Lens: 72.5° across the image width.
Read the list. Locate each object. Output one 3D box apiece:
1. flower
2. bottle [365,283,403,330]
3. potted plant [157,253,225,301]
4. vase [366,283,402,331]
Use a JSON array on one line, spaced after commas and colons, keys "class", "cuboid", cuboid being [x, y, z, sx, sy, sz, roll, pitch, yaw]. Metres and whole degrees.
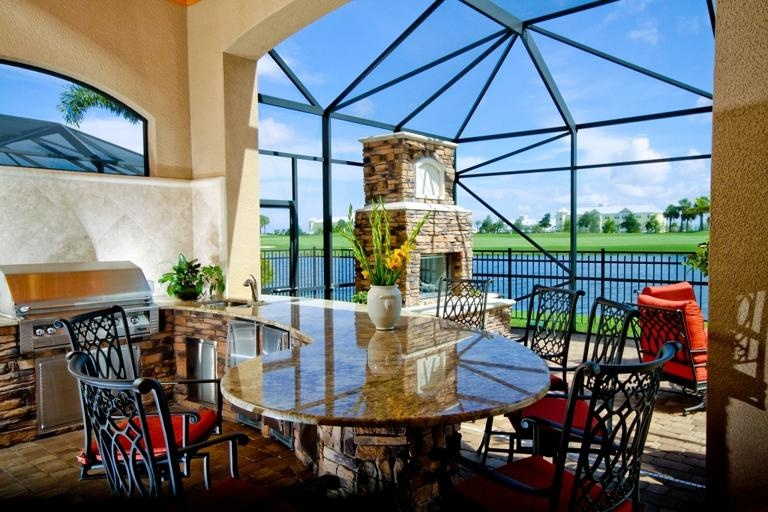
[{"class": "flower", "cuboid": [-0.053, -0.054, 4.174, 0.638, 0.630, 0.591, 9, -30, -36]}, {"class": "bottle", "cuboid": [-0.007, 0.396, 4.171, 0.289, 0.325, 0.353, -2, 8, -10]}, {"class": "potted plant", "cuboid": [-2.214, 0.250, 6.144, 0.526, 0.441, 0.679, 0, -2, 30]}, {"class": "vase", "cuboid": [0.001, 0.403, 4.188, 0.307, 0.342, 0.358, -3, 5, -29]}]
